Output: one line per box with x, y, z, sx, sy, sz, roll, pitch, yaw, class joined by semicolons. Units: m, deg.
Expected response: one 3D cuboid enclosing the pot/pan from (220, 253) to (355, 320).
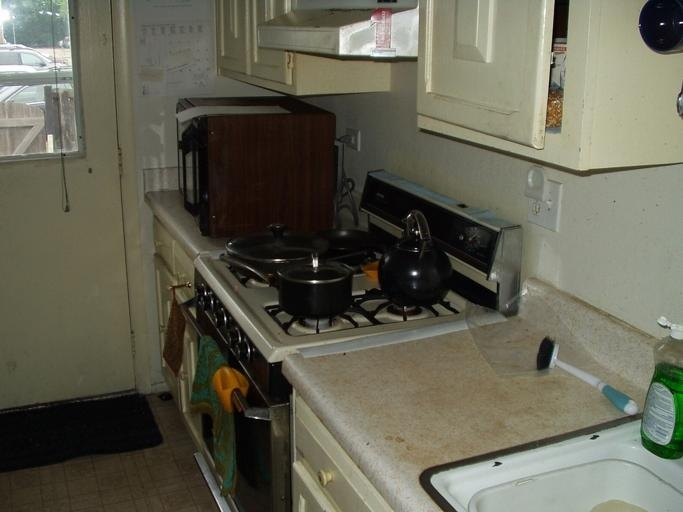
-0.115;0.080;1.648;0.280;0.118;0.157;4;11;15;pot/pan

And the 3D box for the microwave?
-0.364;-0.404;2.449;0.545;0.492;0.737;-3;18;-16;microwave

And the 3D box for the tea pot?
0.205;0.018;1.673;0.181;0.285;0.211;-18;27;-35;tea pot
